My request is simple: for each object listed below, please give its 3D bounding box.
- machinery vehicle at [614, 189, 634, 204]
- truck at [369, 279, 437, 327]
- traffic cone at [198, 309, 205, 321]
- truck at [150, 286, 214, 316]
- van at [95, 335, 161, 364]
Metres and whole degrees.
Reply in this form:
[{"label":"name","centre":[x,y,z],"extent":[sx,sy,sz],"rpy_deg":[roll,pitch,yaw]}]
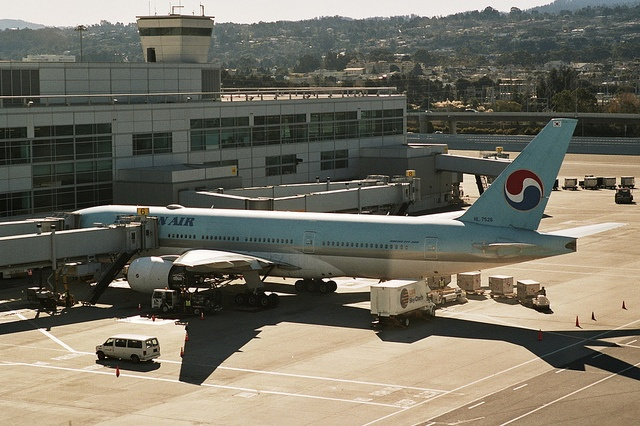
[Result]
[{"label":"machinery vehicle","centre":[37.125,-2.110,113.169],"extent":[2.594,1.721,2.104],"rpy_deg":[1,13,5]},{"label":"truck","centre":[5.880,6.200,66.331],"extent":[2.568,2.012,5.194],"rpy_deg":[3,6,42]},{"label":"traffic cone","centre":[-8.533,7.412,67.791],"extent":[0.665,0.613,0.551],"rpy_deg":[-1,4,-9]},{"label":"truck","centre":[-9.990,6.571,68.917],"extent":[4.672,1.759,1.052],"rpy_deg":[0,7,18]},{"label":"van","centre":[-12.557,8.906,61.067],"extent":[4.097,1.122,2.118],"rpy_deg":[-1,0,28]}]
